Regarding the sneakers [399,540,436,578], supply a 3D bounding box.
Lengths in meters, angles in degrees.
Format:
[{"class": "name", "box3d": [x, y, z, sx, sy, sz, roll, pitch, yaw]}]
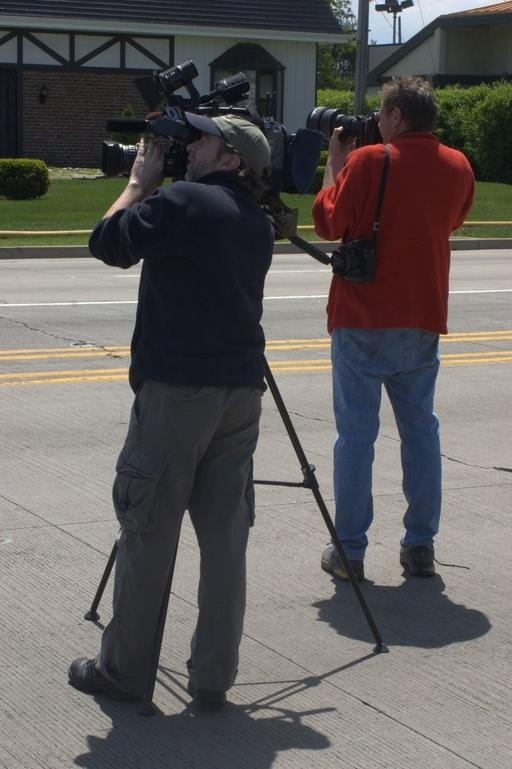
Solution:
[{"class": "sneakers", "box3d": [0.638, 0.709, 3.514, 0.080, 0.079, 0.183, -1, 6, -3]}]

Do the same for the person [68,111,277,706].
[{"class": "person", "box3d": [-0.216, 0.158, 2.279, 0.521, 1.461, 0.340, 0, 11, -12]}]

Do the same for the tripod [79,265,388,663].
[{"class": "tripod", "box3d": [0.093, 0.345, 2.734, 1.041, 0.984, 0.536, 2, 22, -31]}]
